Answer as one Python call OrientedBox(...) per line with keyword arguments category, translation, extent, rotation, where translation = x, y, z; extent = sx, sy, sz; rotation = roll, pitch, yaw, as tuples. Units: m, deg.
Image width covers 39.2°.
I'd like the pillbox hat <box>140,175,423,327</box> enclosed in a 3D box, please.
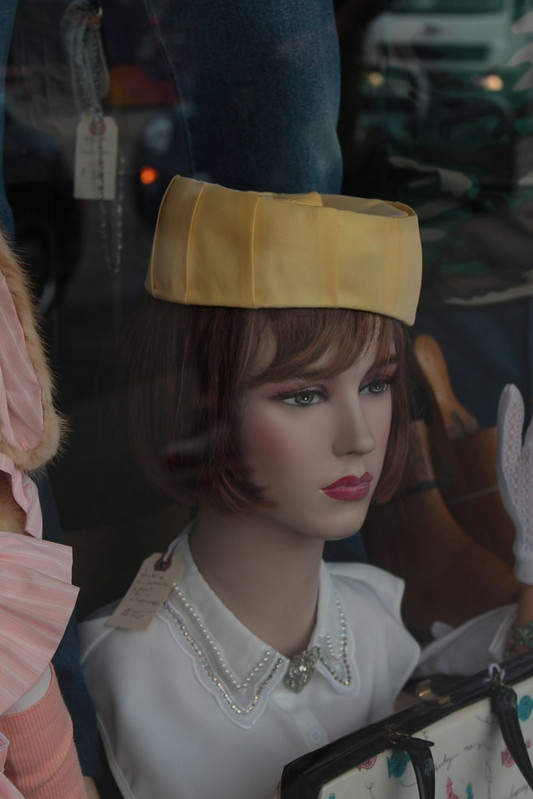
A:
OrientedBox(category="pillbox hat", translation=(0.020, -0.162, 0.791), extent=(0.289, 0.126, 0.196), rotation=(-1, 19, -9))
